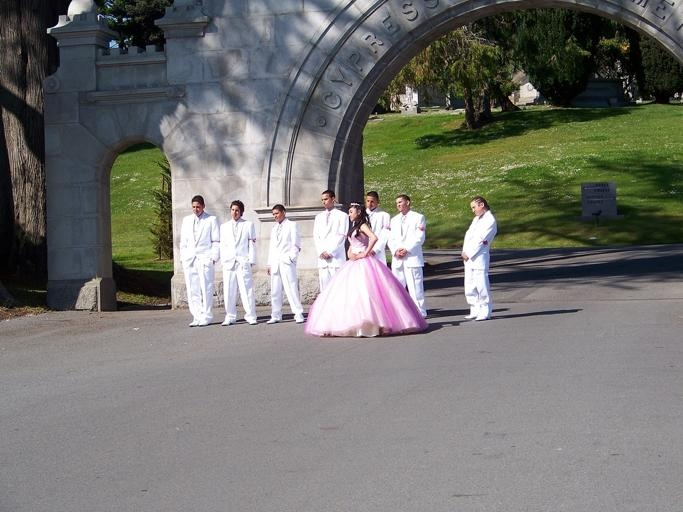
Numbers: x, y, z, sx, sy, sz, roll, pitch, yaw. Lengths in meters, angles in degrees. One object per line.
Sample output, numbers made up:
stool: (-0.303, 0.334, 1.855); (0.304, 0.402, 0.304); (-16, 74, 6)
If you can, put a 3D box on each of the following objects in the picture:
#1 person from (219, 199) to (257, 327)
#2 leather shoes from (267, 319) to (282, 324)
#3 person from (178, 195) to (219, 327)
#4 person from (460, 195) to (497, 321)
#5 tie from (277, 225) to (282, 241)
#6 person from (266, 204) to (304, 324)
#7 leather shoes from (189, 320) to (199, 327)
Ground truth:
person: (-2.000, 0.159, 23.592); (0.722, 2.457, 1.063); (-3, 13, -5)
leather shoes: (-1.291, 1.294, 23.418); (0.232, 0.108, 0.111); (3, -4, -4)
person: (-2.682, 0.264, 23.531); (0.721, 2.016, 0.931); (-4, 14, -9)
person: (2.588, 0.092, 22.693); (0.595, 2.374, 1.040); (-1, 14, 6)
tie: (-1.186, -0.467, 23.487); (0.103, 0.282, 0.103); (-3, 13, -4)
person: (-1.070, 0.168, 23.474); (0.724, 2.302, 0.884); (0, 14, 9)
leather shoes: (-2.818, 1.322, 23.319); (0.208, 0.095, 0.084); (0, -5, 34)
